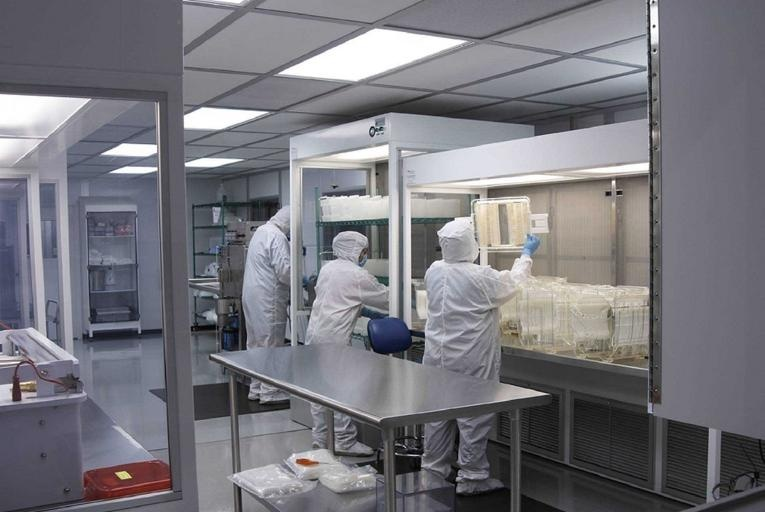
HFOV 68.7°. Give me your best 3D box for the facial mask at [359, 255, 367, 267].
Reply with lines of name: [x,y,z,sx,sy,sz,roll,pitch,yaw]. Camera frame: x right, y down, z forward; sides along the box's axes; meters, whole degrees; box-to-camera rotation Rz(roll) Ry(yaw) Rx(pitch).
facial mask: [-0.171,0.043,4.812,0.075,0.085,0.060,-1,14,-30]

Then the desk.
desk: [-0.066,0.905,2.984,0.851,0.607,1.701,-5,3,-40]

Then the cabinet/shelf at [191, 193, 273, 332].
cabinet/shelf: [-2.645,0.497,9.020,0.597,1.928,1.962,6,10,-23]

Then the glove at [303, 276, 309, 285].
glove: [-0.734,0.232,5.372,0.071,0.131,0.066,0,3,-4]
